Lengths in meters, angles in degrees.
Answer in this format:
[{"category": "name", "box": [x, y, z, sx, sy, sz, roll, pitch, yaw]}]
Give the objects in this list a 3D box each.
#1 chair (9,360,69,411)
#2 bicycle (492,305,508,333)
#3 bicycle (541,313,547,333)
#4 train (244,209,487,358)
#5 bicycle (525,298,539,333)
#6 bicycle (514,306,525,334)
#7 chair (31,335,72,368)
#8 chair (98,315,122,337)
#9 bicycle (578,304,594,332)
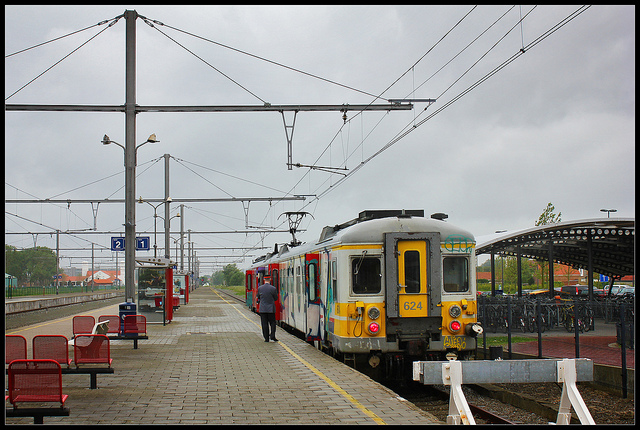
[{"category": "chair", "box": [-4.930, 2.872, 10.533, 1.133, 1.070, 0.800, 1, -5, -2]}, {"category": "bicycle", "box": [7.564, 4.316, 24.515, 0.662, 0.813, 1.335, 0, -2, 3]}, {"category": "bicycle", "box": [9.636, 4.614, 25.378, 0.129, 0.687, 0.583, -5, -11, 26]}, {"category": "train", "box": [0.997, 2.274, 20.289, 3.367, 3.316, 13.909, 1, -5, -12]}, {"category": "bicycle", "box": [8.784, 4.266, 24.453, 0.336, 1.160, 1.047, -3, -10, 19]}, {"category": "bicycle", "box": [8.362, 4.347, 24.643, 0.370, 1.068, 0.423, -7, -11, 34]}, {"category": "chair", "box": [-5.530, 2.729, 12.268, 0.801, 0.764, 0.591, 2, 7, 1]}, {"category": "chair", "box": [-6.159, 3.270, 17.310, 0.464, 0.604, 0.995, 1, -10, -7]}, {"category": "bicycle", "box": [11.233, 4.370, 24.785, 0.483, 0.945, 1.881, -5, -11, 25]}]
